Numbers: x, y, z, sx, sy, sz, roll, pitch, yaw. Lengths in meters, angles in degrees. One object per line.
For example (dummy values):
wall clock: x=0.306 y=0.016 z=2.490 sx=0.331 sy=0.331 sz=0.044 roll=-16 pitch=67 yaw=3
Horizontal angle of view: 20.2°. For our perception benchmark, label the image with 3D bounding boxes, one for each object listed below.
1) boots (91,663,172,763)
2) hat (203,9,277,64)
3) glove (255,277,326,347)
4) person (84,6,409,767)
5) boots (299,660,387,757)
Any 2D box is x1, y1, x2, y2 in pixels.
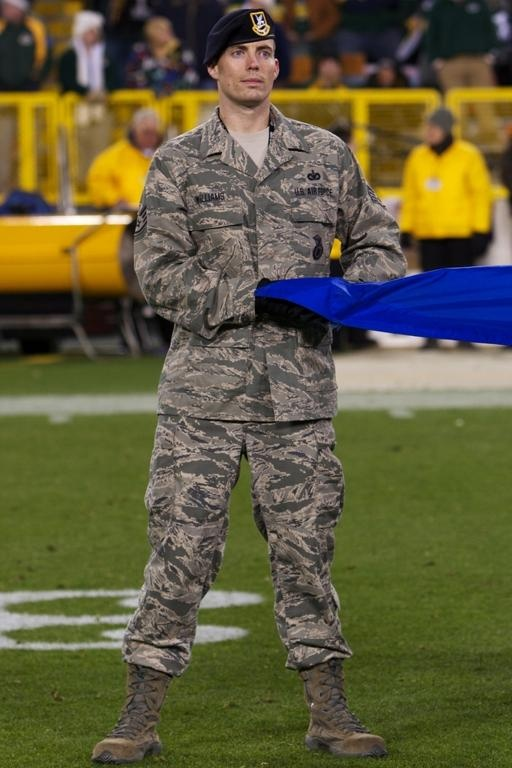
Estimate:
boots: x=-0.285 y=0.764 z=3.409 sx=0.129 sy=0.200 sz=0.277 roll=0 pitch=9 yaw=17
hat: x=-0.052 y=-0.830 z=3.453 sx=0.152 sy=0.060 sz=0.131 roll=-17 pitch=1 yaw=42
glove: x=0.103 y=-0.169 z=3.421 sx=0.223 sy=0.167 sz=0.118 roll=-10 pitch=12 yaw=-41
person: x=-0.007 y=-0.016 z=3.427 sx=0.745 sy=1.735 sz=0.592 roll=-2 pitch=10 yaw=3
boots: x=0.201 y=0.770 z=3.428 sx=0.111 sy=0.231 sz=0.269 roll=-5 pitch=3 yaw=-34
